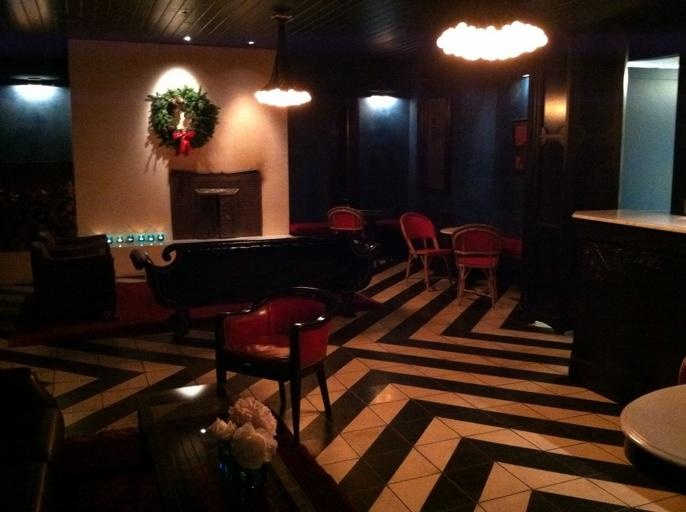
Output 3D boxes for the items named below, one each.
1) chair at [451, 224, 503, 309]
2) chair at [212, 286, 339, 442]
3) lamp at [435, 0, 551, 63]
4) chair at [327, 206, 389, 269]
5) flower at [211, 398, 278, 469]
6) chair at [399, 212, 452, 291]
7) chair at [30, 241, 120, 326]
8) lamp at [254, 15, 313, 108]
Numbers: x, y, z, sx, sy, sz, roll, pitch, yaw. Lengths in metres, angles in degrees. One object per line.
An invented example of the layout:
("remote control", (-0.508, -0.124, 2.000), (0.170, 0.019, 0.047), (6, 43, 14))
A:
("chair", (1.950, 0.051, 7.443), (0.640, 1.157, 1.305), (5, 13, 17))
("chair", (-0.516, 0.801, 4.211), (0.820, 1.004, 0.749), (5, 7, 33))
("lamp", (1.567, -2.351, 5.294), (1.433, 0.520, 0.241), (-2, 45, 7))
("chair", (0.098, -0.341, 9.112), (1.033, 1.412, 1.015), (2, 10, 20))
("flower", (-0.496, 0.950, 2.687), (0.344, 0.344, 0.261), (8, 15, 30))
("chair", (1.294, -0.109, 8.144), (0.679, 1.046, 0.771), (-6, 12, -22))
("chair", (-3.343, 0.378, 6.684), (1.070, 1.154, 1.485), (-4, 9, -26))
("lamp", (-0.764, -2.504, 6.627), (0.704, 1.060, 0.697), (-1, 13, -9))
